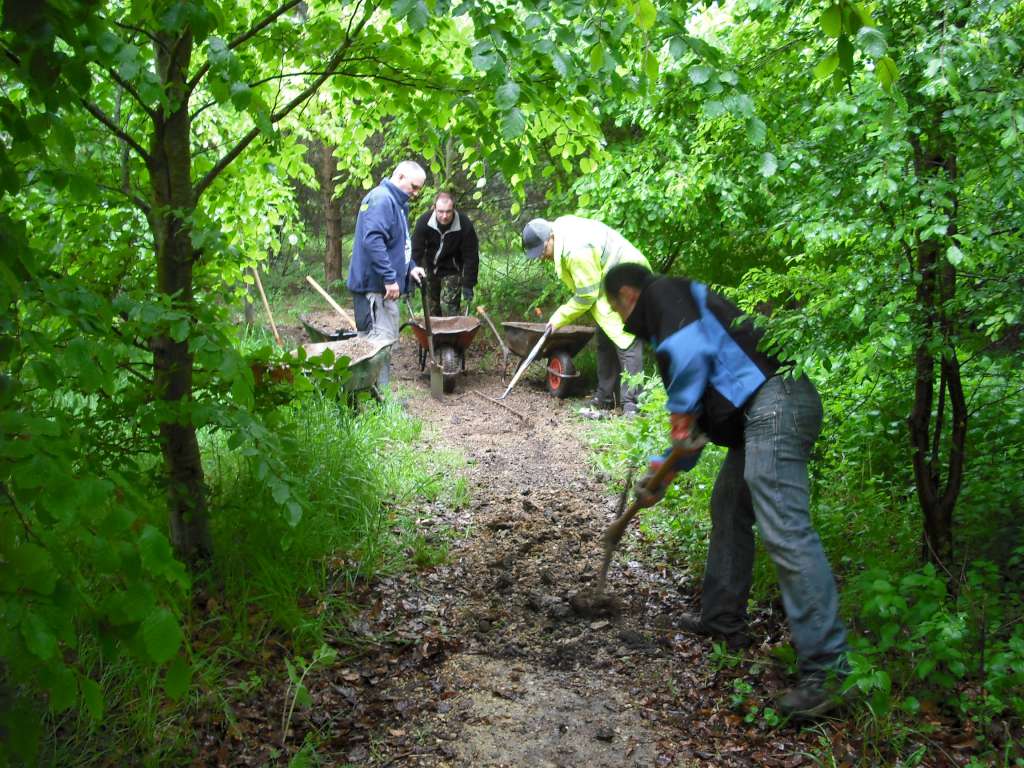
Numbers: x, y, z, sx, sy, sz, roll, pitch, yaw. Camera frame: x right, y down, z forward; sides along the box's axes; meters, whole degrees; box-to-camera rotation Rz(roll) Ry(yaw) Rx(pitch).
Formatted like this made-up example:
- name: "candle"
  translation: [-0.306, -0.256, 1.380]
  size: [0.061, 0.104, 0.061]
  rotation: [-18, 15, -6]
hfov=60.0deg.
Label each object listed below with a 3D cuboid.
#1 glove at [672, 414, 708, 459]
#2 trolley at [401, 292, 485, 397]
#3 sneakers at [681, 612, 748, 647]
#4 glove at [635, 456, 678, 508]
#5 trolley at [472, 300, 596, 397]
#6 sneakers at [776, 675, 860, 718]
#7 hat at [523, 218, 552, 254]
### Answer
- name: "glove"
  translation: [0.865, 0.256, 4.353]
  size: [0.126, 0.189, 0.158]
  rotation: [0, 14, 3]
- name: "trolley"
  translation: [-0.844, -0.417, 10.515]
  size: [0.629, 0.739, 1.506]
  rotation: [-2, 7, -12]
- name: "sneakers"
  translation: [1.082, 1.328, 4.832]
  size: [0.127, 0.171, 0.370]
  rotation: [-9, 18, -39]
- name: "glove"
  translation: [0.689, 0.491, 4.529]
  size: [0.155, 0.101, 0.419]
  rotation: [-28, -27, -31]
- name: "trolley"
  translation: [0.228, -0.338, 9.962]
  size: [0.623, 0.680, 1.387]
  rotation: [0, 0, -26]
- name: "sneakers"
  translation: [1.399, 1.461, 4.124]
  size: [0.356, 0.185, 0.156]
  rotation: [-24, 9, 24]
- name: "hat"
  translation: [0.224, -1.287, 7.853]
  size: [0.257, 0.326, 0.258]
  rotation: [1, 3, 2]
